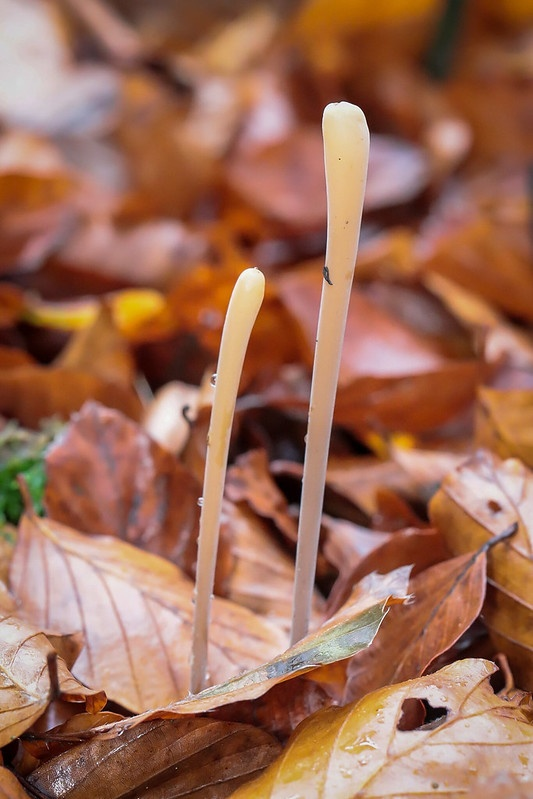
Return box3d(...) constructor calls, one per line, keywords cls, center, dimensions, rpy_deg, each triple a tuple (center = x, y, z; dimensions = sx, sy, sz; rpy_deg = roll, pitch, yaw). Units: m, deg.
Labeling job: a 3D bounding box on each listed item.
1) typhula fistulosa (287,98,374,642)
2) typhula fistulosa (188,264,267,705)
box3d(cls="typhula fistulosa", center=(0.024, 0.011, 0.335), dimensions=(0.018, 0.247, 0.100), rpy_deg=(4, 20, 5))
box3d(cls="typhula fistulosa", center=(-0.017, 0.039, 0.323), dimensions=(0.025, 0.186, 0.053), rpy_deg=(0, 20, -5))
